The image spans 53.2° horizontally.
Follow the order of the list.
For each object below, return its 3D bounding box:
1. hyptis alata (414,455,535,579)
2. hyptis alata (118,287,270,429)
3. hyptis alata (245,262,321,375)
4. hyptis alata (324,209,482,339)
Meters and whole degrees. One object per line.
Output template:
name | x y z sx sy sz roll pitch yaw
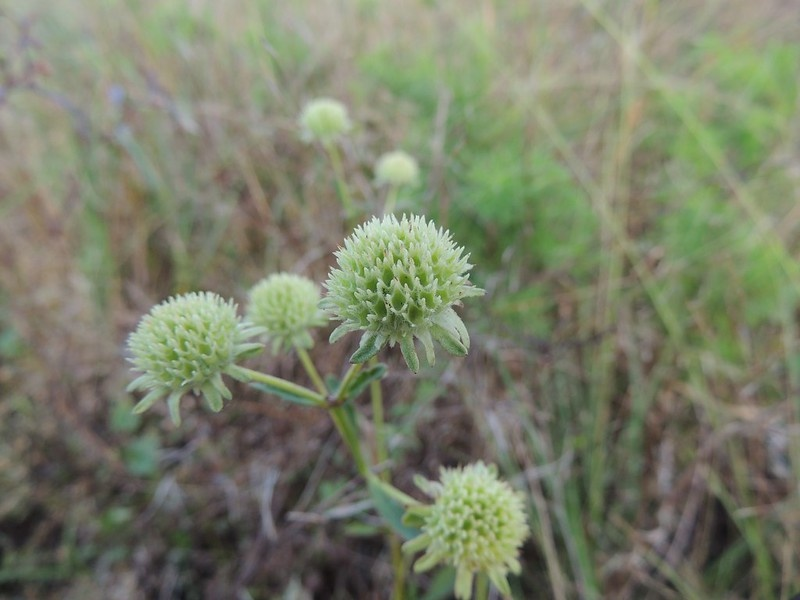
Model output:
hyptis alata | 0.256 0.779 2.863 0.404 0.113 0.395 2 70 4
hyptis alata | -0.764 0.206 2.966 0.459 0.239 0.470 29 74 13
hyptis alata | -0.448 0.026 3.282 0.319 0.395 0.322 -21 31 -20
hyptis alata | -0.020 -0.058 2.859 0.430 0.398 0.469 -14 30 37
